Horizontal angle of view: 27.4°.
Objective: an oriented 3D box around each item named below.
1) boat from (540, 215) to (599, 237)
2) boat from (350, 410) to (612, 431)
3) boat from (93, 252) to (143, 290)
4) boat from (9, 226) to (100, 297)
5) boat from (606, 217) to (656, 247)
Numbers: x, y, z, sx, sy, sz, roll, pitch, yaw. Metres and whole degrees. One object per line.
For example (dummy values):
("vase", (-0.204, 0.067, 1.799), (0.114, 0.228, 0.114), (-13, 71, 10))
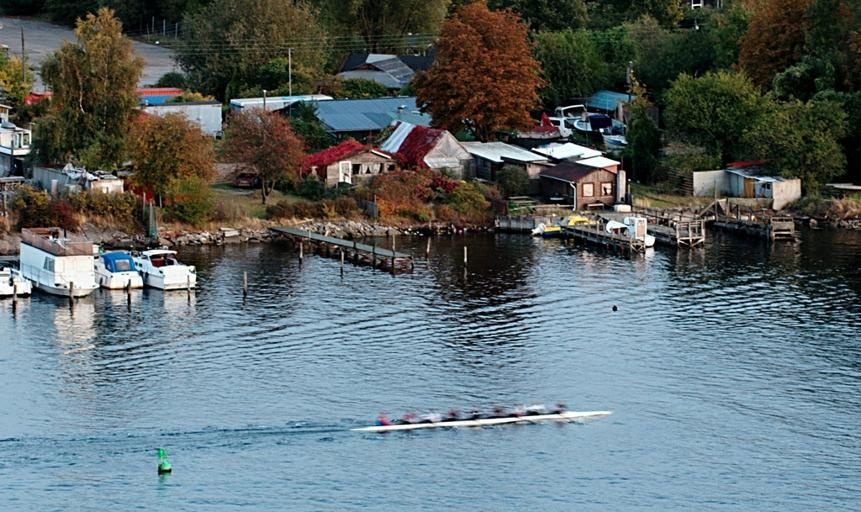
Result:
("boat", (12.869, -2.957, 176.353), (5.260, 1.903, 1.864), (-1, 9, -1))
("boat", (3.840, 12.969, 139.360), (19.030, 1.108, 0.719), (-1, 9, -6))
("boat", (-28.703, 1.285, 158.577), (4.172, 3.190, 2.132), (3, 10, 21))
("boat", (-34.357, 0.561, 158.495), (4.148, 3.891, 10.612), (-3, 13, -32))
("boat", (19.235, -2.656, 172.945), (2.620, 2.040, 4.935), (-6, 12, -33))
